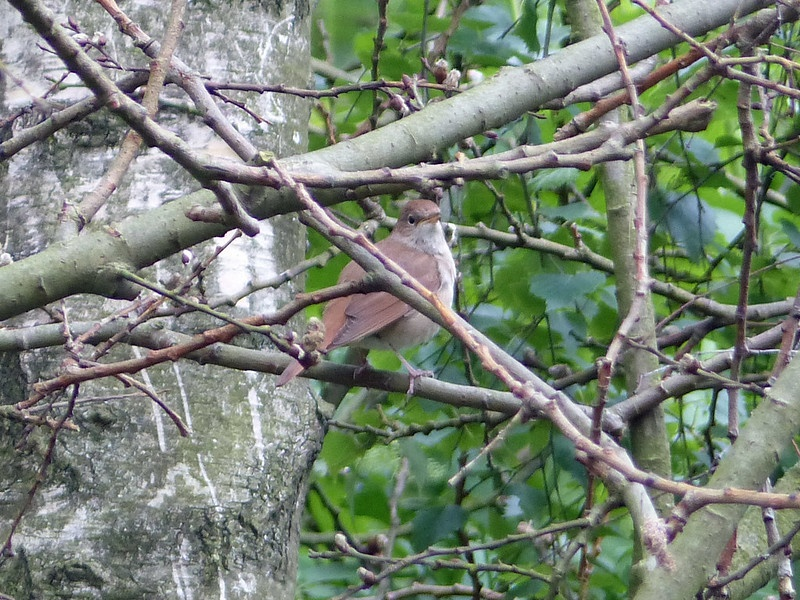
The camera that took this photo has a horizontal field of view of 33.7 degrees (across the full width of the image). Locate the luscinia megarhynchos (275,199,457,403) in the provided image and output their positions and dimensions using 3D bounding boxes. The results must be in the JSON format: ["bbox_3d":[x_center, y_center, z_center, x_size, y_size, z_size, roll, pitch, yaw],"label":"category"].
[{"bbox_3d":[-0.171,0.014,6.265,0.943,0.990,0.582,-9,-34,16],"label":"luscinia megarhynchos"}]
